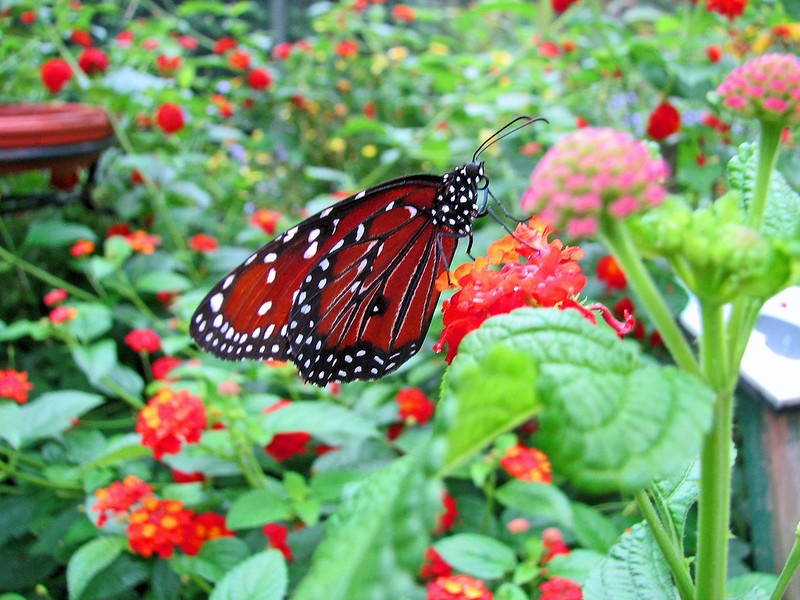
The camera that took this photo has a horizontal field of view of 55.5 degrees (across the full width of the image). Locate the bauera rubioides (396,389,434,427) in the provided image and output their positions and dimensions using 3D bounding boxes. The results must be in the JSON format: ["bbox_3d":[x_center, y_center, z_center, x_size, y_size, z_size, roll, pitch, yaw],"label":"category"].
[{"bbox_3d":[0.050,0.373,2.616,0.131,0.118,0.119,13,23,10],"label":"bauera rubioides"}]

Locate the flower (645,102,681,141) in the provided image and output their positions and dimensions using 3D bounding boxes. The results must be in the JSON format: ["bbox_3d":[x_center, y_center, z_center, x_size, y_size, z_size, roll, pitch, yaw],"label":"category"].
[{"bbox_3d":[0.953,-0.640,2.767,0.099,0.151,0.194,16,24,17],"label":"flower"}]

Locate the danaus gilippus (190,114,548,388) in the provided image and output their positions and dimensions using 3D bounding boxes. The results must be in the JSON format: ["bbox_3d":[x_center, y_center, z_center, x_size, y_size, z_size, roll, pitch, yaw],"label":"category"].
[{"bbox_3d":[-0.196,-0.054,2.356,1.118,0.811,0.631,-13,28,-31],"label":"danaus gilippus"}]

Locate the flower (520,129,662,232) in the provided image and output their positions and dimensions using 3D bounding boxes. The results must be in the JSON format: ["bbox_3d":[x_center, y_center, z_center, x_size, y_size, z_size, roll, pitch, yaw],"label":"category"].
[{"bbox_3d":[0.337,-0.199,1.311,0.245,0.175,0.130,8,23,-1],"label":"flower"}]
